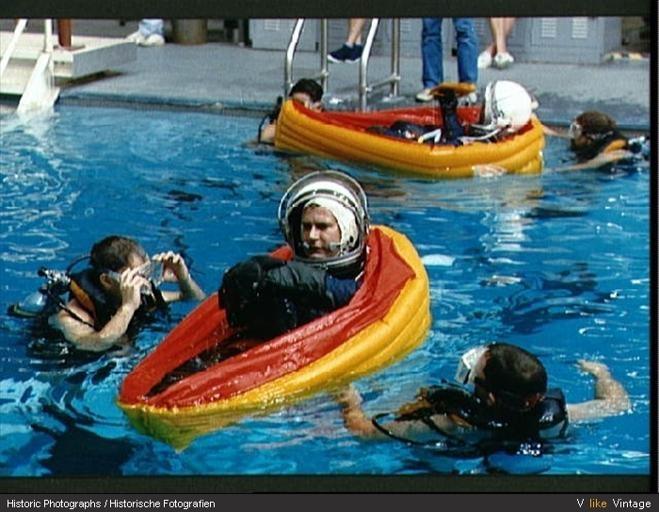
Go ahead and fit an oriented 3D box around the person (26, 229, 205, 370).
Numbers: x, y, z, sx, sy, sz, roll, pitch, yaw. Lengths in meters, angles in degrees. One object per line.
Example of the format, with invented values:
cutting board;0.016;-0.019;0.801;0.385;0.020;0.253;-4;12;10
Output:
person;-0.910;0.144;4.020;1.048;0.597;0.600;-2;7;15

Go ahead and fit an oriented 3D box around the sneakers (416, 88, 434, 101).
sneakers;0.589;-0.983;4.907;0.059;0.067;0.162;3;8;24

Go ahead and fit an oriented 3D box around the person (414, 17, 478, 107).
person;0.658;-1.191;4.460;0.320;0.234;0.972;-2;49;15

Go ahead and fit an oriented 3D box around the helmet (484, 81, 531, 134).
helmet;1.012;-0.836;4.551;0.213;0.278;0.276;3;10;4

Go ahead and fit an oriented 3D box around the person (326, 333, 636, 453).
person;0.699;0.604;3.451;0.965;0.356;0.512;-1;6;12

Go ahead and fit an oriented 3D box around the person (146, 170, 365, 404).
person;-0.189;0.115;3.480;0.729;0.532;1.272;5;39;12

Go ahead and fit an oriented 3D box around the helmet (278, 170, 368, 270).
helmet;0.016;-0.163;3.682;0.400;0.454;0.448;-6;-3;3
